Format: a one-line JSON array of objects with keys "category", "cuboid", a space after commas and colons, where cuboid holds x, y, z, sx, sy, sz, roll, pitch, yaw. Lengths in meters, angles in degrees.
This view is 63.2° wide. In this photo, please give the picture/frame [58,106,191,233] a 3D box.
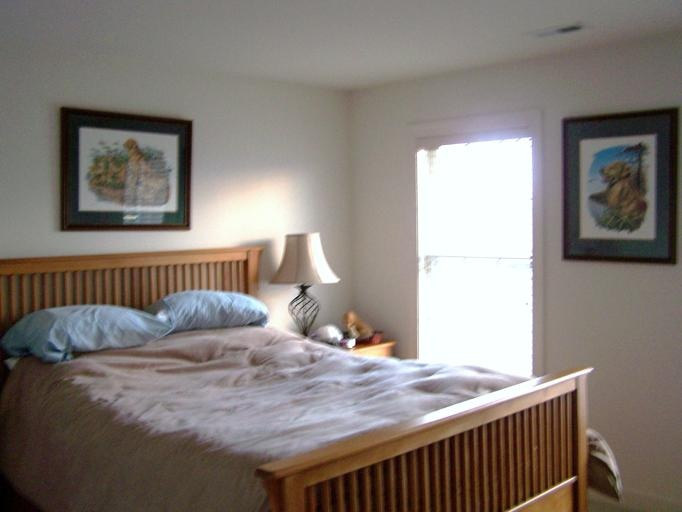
[{"category": "picture/frame", "cuboid": [-1.447, -0.569, 3.621, 0.823, 0.812, 0.078, -3, 7, -42]}]
